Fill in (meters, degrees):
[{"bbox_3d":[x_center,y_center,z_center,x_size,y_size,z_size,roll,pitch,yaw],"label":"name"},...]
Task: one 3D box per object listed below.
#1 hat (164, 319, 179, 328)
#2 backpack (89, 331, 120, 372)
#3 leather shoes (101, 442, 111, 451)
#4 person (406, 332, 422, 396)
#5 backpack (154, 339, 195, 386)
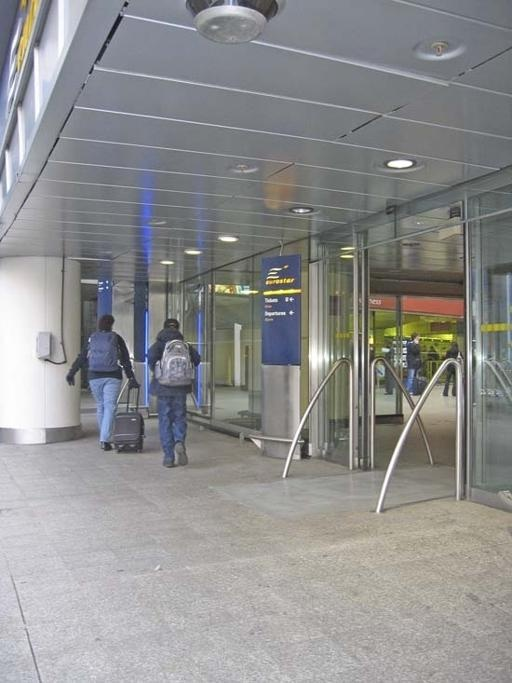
[{"bbox_3d":[-1.165,-0.242,7.864,0.177,0.123,0.278,9,1,-3],"label":"hat"},{"bbox_3d":[-2.333,0.169,8.702,0.581,0.754,0.405,0,-11,-3],"label":"backpack"},{"bbox_3d":[-2.283,1.610,8.647,0.154,0.113,0.157,1,-4,-13],"label":"leather shoes"},{"bbox_3d":[4.693,0.797,16.941,0.381,1.646,0.741,-1,-4,14],"label":"person"},{"bbox_3d":[-1.044,0.293,7.329,0.481,0.589,0.603,3,-8,-11],"label":"backpack"}]
